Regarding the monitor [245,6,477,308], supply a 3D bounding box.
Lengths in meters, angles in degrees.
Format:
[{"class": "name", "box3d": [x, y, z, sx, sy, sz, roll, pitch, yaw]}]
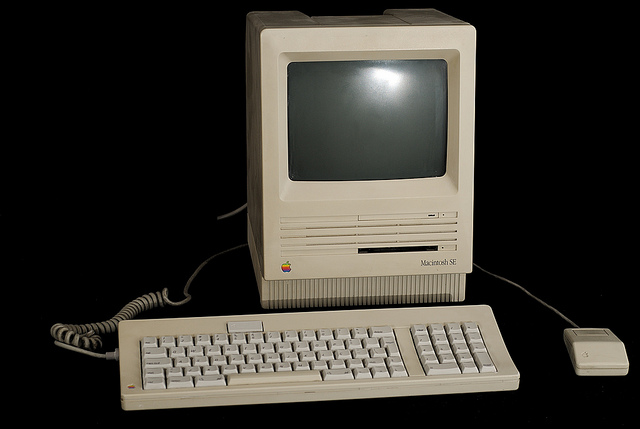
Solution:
[{"class": "monitor", "box3d": [0.098, -0.187, 1.860, 0.580, 0.832, 0.494, -2, 20, -8]}]

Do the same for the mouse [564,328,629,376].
[{"class": "mouse", "box3d": [0.675, 0.326, 1.527, 0.120, 0.053, 0.170, 0, 18, 13]}]
